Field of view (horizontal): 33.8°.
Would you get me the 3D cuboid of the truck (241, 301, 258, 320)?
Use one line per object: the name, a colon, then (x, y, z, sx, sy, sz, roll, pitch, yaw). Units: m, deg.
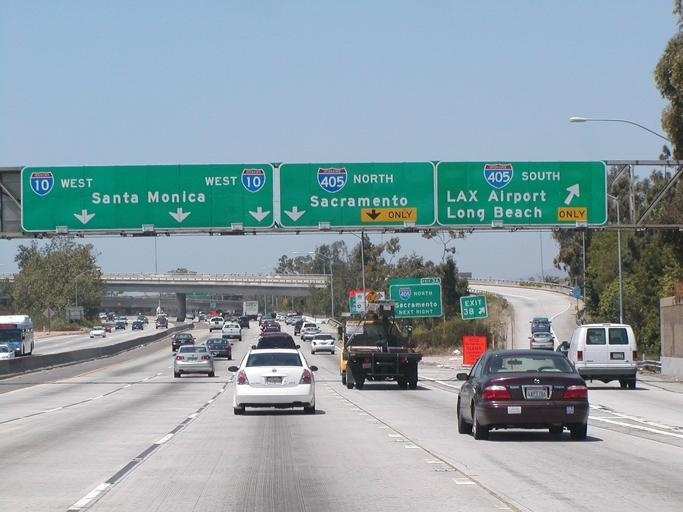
truck: (-13.739, 7.928, 169.700, 2.138, 2.200, 3.105, 2, -1, -8)

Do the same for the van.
van: (9.823, 3.610, 42.082, 2.450, 2.884, 3.289, 0, -3, 11)

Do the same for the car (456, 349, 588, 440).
car: (4.336, 3.375, 27.795, 2.700, 1.996, 5.571, 0, -6, -4)

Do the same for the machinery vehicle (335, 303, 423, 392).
machinery vehicle: (1.369, 3.573, 44.275, 2.119, 2.477, 4.050, 1, 0, -3)
